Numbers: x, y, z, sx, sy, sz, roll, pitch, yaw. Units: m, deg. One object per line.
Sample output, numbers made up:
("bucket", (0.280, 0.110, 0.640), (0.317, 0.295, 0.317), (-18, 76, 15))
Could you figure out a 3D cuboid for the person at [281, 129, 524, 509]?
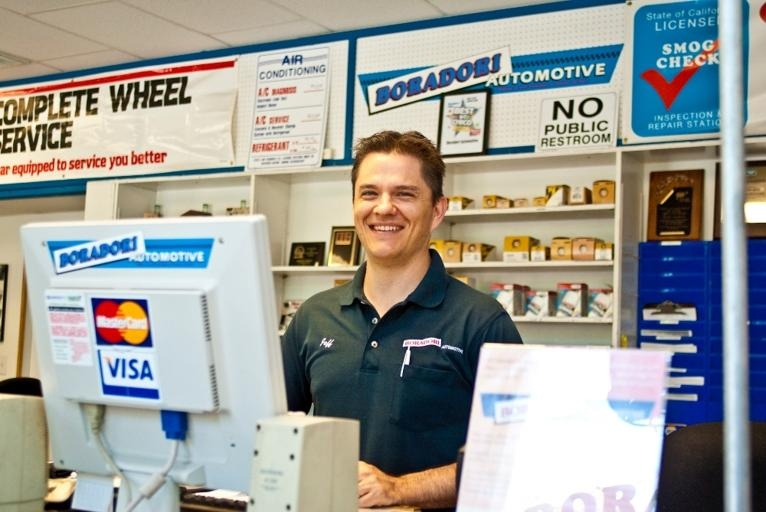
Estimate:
("person", (0.052, 0.126, 2.130), (0.773, 1.094, 0.415), (-1, 4, -9))
